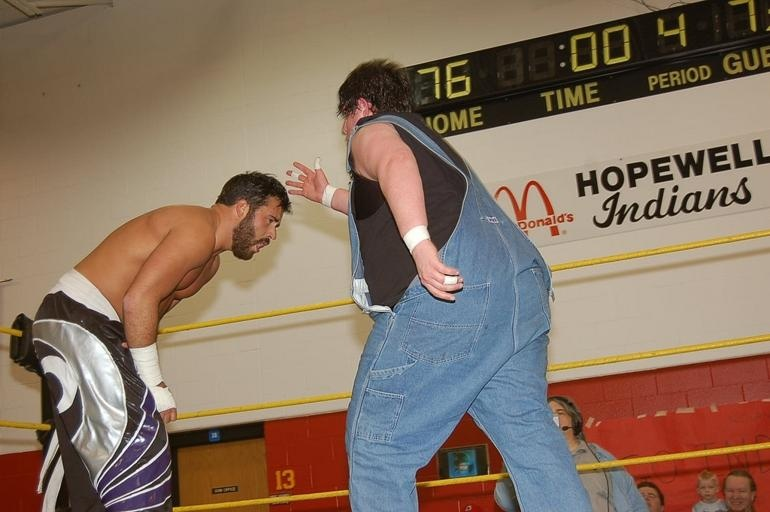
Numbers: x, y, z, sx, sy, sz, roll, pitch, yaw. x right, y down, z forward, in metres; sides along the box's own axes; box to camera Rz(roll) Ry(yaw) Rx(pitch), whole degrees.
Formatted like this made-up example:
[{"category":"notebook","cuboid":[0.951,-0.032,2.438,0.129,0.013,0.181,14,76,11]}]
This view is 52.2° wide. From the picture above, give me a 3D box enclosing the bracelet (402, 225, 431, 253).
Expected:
[{"category":"bracelet","cuboid":[0.144,-0.088,3.717,0.124,0.087,0.121,-16,-14,-37]}]
